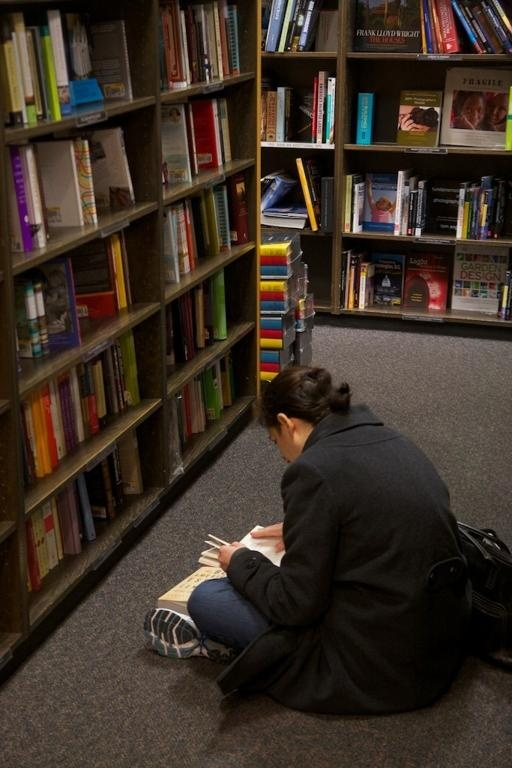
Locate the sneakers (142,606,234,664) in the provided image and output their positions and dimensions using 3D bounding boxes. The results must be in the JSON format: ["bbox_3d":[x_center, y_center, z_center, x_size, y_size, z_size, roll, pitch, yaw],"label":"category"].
[{"bbox_3d":[-0.192,0.640,1.539,0.261,0.114,0.127,16,-11,20],"label":"sneakers"}]
